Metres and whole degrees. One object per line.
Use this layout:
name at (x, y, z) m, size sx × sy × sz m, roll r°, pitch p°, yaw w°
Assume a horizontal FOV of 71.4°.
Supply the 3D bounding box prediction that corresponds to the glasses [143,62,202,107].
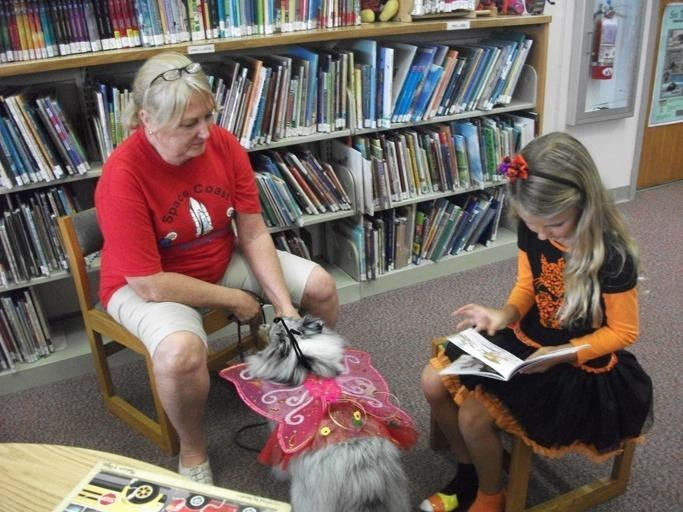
glasses at (-0.561, -0.572, 1.602) m, size 0.149 × 0.034 × 0.142 m, roll -27°, pitch 16°, yaw -40°

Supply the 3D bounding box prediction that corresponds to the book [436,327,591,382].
book at (0.447, 0.268, 1.427) m, size 0.230 × 0.071 × 0.227 m, roll 3°, pitch 7°, yaw 33°
